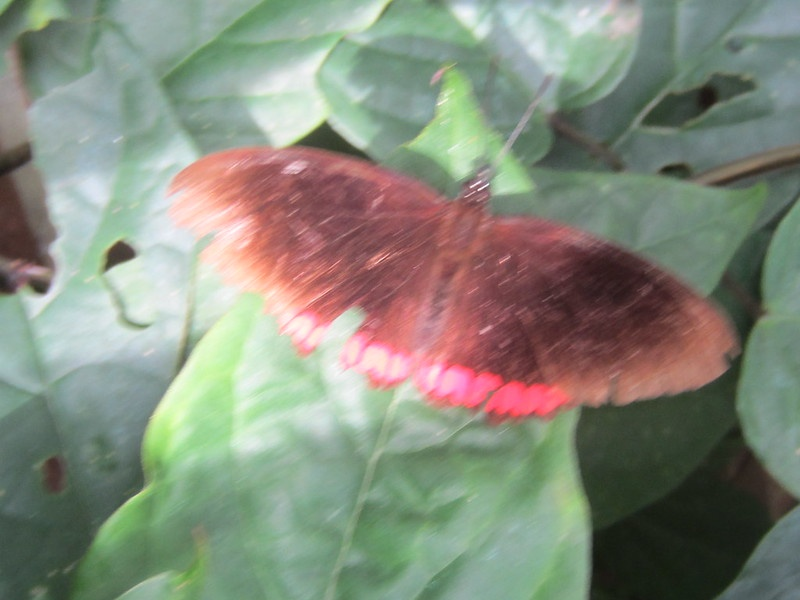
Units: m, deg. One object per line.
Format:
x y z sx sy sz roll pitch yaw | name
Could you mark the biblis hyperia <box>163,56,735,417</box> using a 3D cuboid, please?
0.020 -0.011 0.411 0.159 0.049 0.255 -41 73 -14 | biblis hyperia
